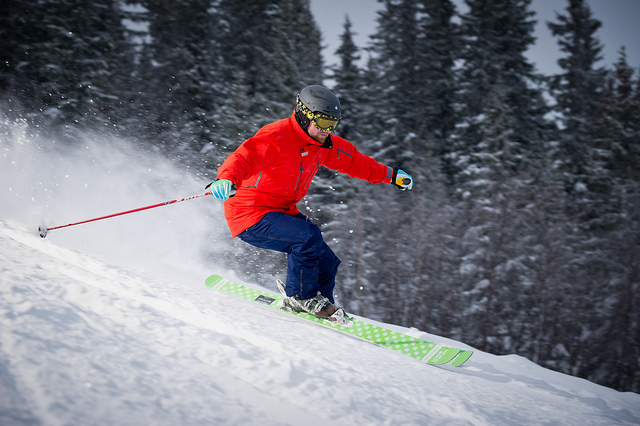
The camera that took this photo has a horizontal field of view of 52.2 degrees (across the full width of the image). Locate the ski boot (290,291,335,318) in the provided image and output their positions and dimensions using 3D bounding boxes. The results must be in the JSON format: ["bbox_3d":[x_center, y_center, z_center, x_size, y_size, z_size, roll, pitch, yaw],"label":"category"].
[{"bbox_3d":[-0.094,1.057,7.627,0.551,0.295,0.170,10,-2,1],"label":"ski boot"}]

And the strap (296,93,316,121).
[{"bbox_3d":[-0.139,-1.195,7.374,0.306,0.114,0.228,39,3,4],"label":"strap"}]
